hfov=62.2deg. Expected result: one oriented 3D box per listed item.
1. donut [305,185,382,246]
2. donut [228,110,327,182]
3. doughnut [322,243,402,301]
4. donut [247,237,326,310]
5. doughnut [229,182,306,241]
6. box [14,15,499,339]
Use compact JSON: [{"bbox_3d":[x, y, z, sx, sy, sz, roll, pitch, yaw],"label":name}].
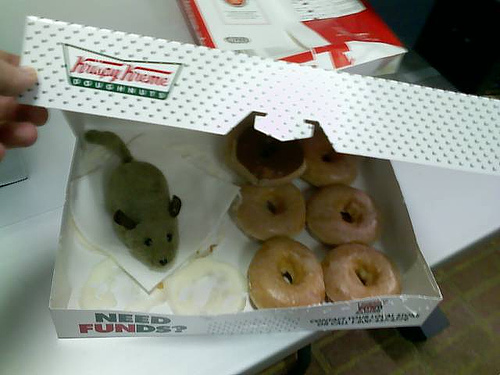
[{"bbox_3d":[0.182,0.054,0.800,0.147,0.042,0.119,-1,66,1],"label":"donut"},{"bbox_3d":[0.031,-0.067,0.773,0.149,0.090,0.099,5,66,4],"label":"donut"},{"bbox_3d":[0.200,0.146,0.692,0.103,0.038,0.107,8,50,-12],"label":"doughnut"},{"bbox_3d":[0.062,0.147,0.724,0.125,0.042,0.122,-5,66,0],"label":"donut"},{"bbox_3d":[0.045,0.048,0.805,0.144,0.053,0.150,-6,45,8],"label":"doughnut"},{"bbox_3d":[-0.007,0.104,1.034,0.993,0.677,0.537,2,61,-10],"label":"box"}]
